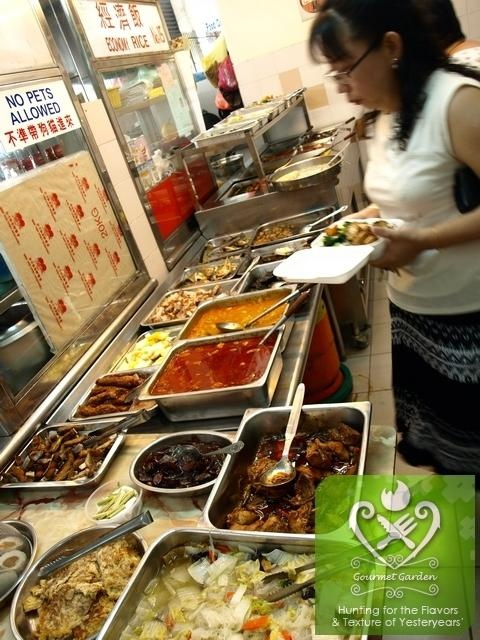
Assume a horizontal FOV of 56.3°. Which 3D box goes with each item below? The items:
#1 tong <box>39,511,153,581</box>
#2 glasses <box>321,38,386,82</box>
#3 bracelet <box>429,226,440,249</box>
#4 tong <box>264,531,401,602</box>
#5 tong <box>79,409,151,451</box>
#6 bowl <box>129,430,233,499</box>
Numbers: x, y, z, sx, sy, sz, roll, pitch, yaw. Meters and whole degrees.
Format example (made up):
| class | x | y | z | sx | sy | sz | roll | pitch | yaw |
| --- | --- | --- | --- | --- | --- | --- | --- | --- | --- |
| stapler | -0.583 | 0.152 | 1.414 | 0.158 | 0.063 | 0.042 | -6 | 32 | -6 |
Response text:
| class | x | y | z | sx | sy | sz | roll | pitch | yaw |
| --- | --- | --- | --- | --- | --- | --- | --- | --- | --- |
| tong | -0.356 | 0.574 | 1.130 | 0.332 | 0.072 | 0.064 | -25 | -11 | 1 |
| glasses | 0.334 | -0.745 | 1.300 | 0.043 | 0.062 | 0.180 | -34 | 26 | -22 |
| bracelet | 0.603 | -0.250 | 1.383 | 0.030 | 0.063 | 0.028 | -14 | 26 | 24 |
| tong | 0.181 | 0.470 | 0.849 | 0.220 | 0.023 | 0.047 | -21 | 45 | -6 |
| tong | -0.456 | 0.412 | 1.660 | 0.238 | 0.055 | 0.049 | -20 | 28 | 17 |
| bowl | -0.175 | 0.388 | 1.312 | 0.235 | 0.043 | 0.193 | -17 | 21 | -26 |
